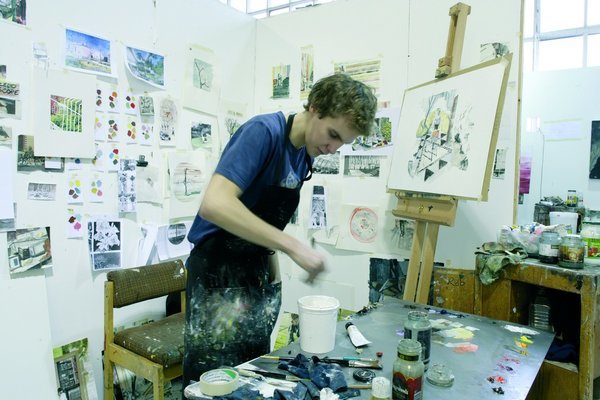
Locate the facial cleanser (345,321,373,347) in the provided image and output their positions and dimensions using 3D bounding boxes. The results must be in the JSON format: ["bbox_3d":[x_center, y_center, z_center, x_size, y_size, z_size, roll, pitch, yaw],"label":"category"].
[{"bbox_3d":[0.317,0.764,2.550,0.101,0.048,0.190,-5,28,-21],"label":"facial cleanser"}]

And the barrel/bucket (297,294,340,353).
[{"bbox_3d":[0.097,0.669,2.491,0.202,0.305,0.168,-2,6,-22],"label":"barrel/bucket"}]

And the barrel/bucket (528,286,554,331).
[{"bbox_3d":[1.656,0.804,3.056,0.120,0.192,0.110,15,-8,2],"label":"barrel/bucket"}]

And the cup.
[{"bbox_3d":[0.098,0.677,2.474,0.201,0.310,0.167,-2,6,-21],"label":"cup"}]

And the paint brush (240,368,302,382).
[{"bbox_3d":[-0.157,0.877,2.245,0.315,0.025,0.032,3,3,7],"label":"paint brush"}]

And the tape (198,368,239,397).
[{"bbox_3d":[-0.383,0.880,2.159,0.163,0.095,0.141,1,4,-37],"label":"tape"}]

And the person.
[{"bbox_3d":[-0.147,0.200,2.597,0.870,1.971,0.807,2,1,38],"label":"person"}]
